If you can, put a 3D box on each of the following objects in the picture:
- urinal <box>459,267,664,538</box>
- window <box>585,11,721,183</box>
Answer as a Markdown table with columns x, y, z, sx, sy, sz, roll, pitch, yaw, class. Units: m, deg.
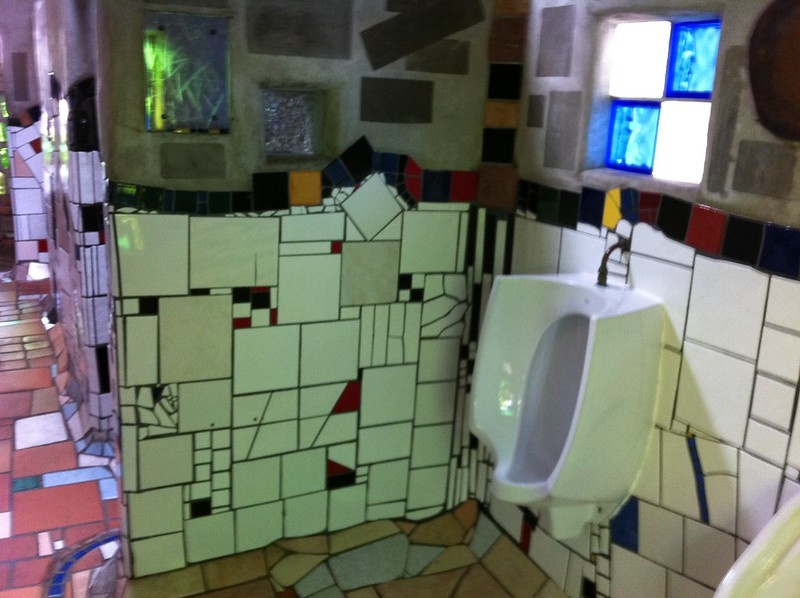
| x | y | z | sx | sy | sz | roll | pitch | yaw | class |
| --- | --- | --- | --- | --- | --- | --- | --- | --- | --- |
| 0.503 | 0.394 | 2.300 | 0.464 | 0.867 | 0.549 | -9 | 17 | -24 | urinal |
| 0.784 | -0.631 | 2.174 | 0.050 | 0.506 | 0.451 | -8 | 23 | -33 | window |
